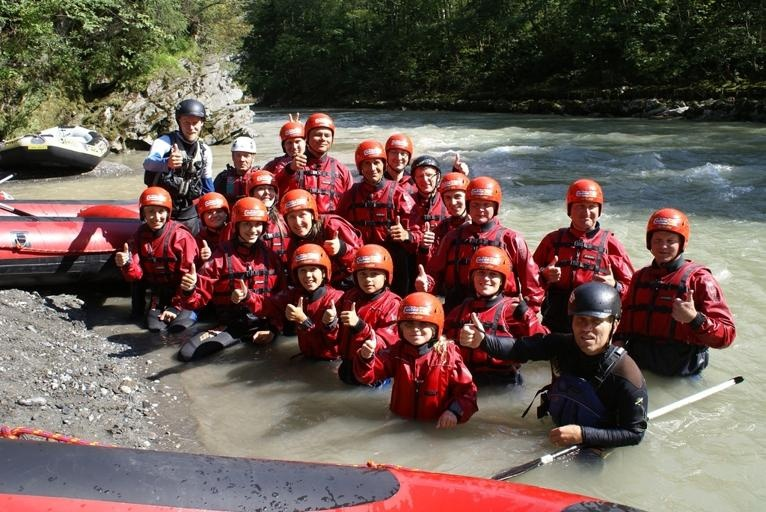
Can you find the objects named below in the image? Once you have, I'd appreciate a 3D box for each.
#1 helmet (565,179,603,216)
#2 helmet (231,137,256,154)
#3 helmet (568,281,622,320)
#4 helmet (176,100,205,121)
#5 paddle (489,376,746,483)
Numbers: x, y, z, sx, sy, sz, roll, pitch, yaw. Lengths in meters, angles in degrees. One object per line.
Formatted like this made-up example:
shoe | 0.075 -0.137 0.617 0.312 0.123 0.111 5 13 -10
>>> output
helmet | 2.586 -0.735 8.124 0.479 0.417 0.543 7 9 -2
helmet | -2.275 -1.794 10.540 0.384 0.204 0.474 8 0 -3
helmet | 1.983 0.407 6.014 0.347 0.272 0.441 3 9 32
helmet | -2.961 -2.234 9.886 0.415 0.297 0.418 -4 10 -17
paddle | 3.030 1.585 6.763 0.301 0.497 6.602 45 21 28
